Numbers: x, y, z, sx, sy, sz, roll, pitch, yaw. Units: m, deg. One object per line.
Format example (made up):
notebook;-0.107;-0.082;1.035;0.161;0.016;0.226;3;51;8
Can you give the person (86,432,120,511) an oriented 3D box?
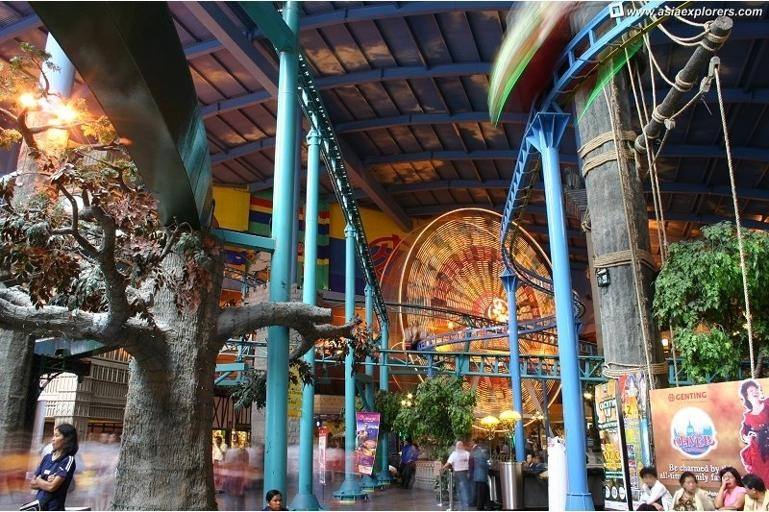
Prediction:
person;-4.093;3.150;7.714;0.319;1.019;1.193;10;-22;-25

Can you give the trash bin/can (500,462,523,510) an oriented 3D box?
trash bin/can;3.540;6.323;14.572;0.602;1.237;0.514;-4;-20;12

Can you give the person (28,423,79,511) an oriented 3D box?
person;-4.018;2.572;6.473;0.432;1.000;0.537;12;-23;-29
